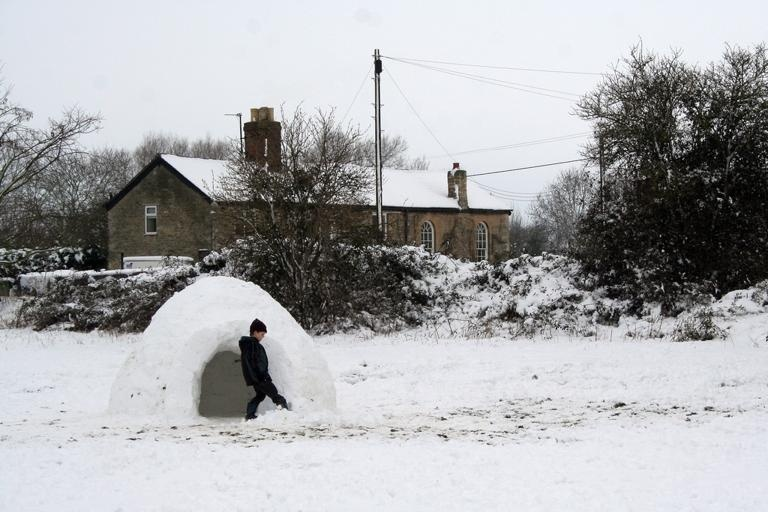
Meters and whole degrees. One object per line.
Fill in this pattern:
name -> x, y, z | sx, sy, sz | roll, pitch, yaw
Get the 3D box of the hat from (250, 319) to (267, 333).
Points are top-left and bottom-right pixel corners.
hat -> -2.366, 1.323, 15.974 | 0.264, 0.234, 0.204 | -5, -2, 8

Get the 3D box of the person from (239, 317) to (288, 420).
person -> -2.330, 2.123, 16.075 | 0.804, 1.856, 0.543 | -2, 3, -10

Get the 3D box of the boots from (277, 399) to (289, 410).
boots -> -1.902, 2.789, 15.953 | 0.167, 0.197, 0.216 | 1, -31, -2
